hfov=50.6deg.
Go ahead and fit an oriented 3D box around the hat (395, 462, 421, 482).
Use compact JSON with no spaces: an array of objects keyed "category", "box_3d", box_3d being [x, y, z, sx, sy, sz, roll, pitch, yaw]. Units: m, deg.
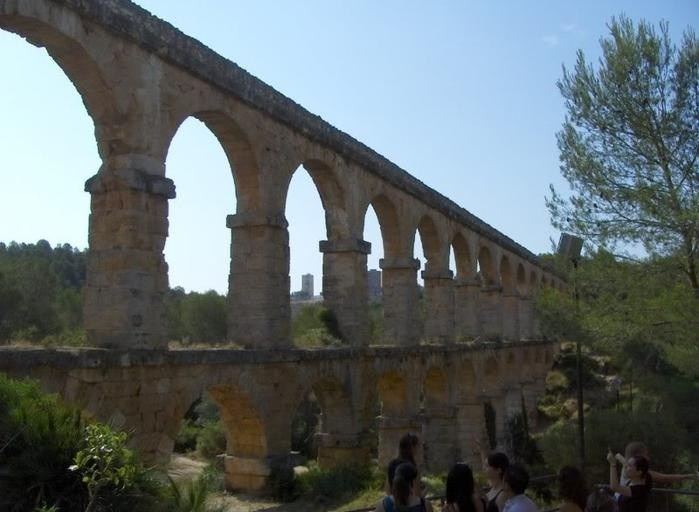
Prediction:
[{"category":"hat","box_3d":[0.546,2.024,6.940,0.141,0.211,0.189,-14,-13,38]}]
